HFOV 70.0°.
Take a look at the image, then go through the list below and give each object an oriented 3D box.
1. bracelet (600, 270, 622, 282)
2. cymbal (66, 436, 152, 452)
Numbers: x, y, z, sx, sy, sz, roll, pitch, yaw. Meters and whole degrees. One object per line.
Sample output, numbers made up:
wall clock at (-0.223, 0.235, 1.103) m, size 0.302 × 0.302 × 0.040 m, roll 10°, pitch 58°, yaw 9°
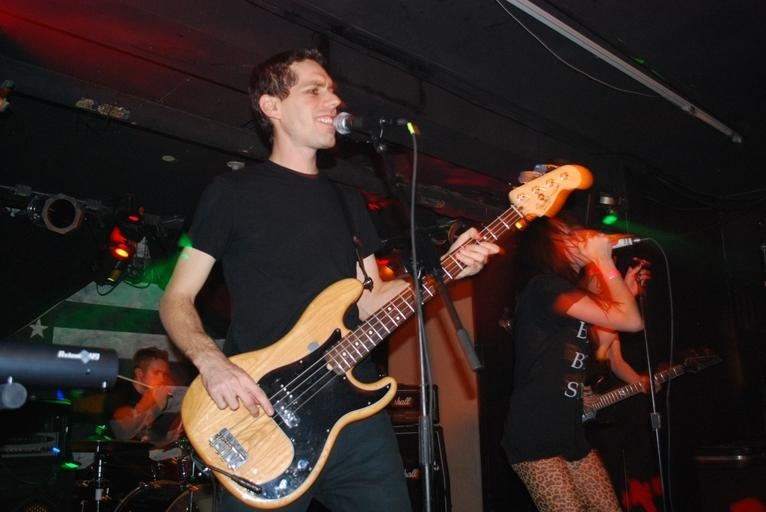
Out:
bracelet at (1.922, 0.170, 4.609) m, size 0.105 × 0.074 × 0.102 m, roll 2°, pitch -11°, yaw -6°
cymbal at (-2.787, 1.923, 5.546) m, size 0.429 × 0.070 × 0.409 m, roll 3°, pitch -3°, yaw 22°
